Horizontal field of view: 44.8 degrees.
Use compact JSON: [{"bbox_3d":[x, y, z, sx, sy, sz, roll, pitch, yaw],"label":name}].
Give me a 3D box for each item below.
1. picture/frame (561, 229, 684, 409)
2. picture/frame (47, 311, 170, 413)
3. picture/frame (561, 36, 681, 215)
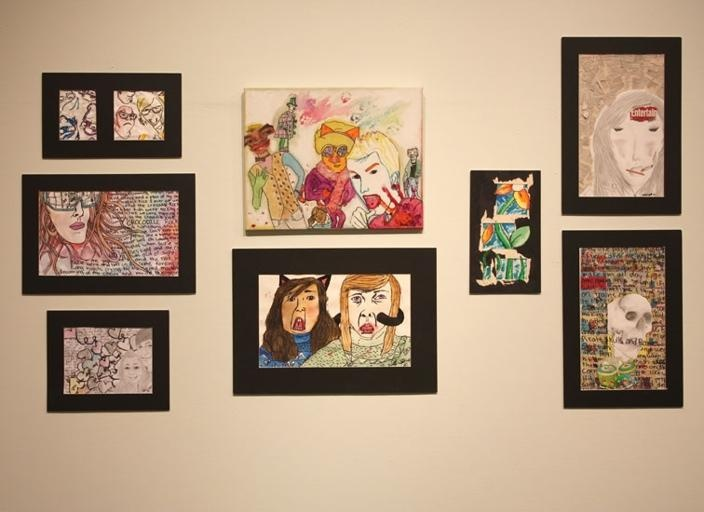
[{"bbox_3d":[1.032,0.235,3.333,0.626,0.978,0.034,0,-2,-3],"label":"picture/frame"},{"bbox_3d":[-0.968,0.419,3.312,0.352,0.327,0.017,-1,-4,-1],"label":"picture/frame"},{"bbox_3d":[1.025,-0.512,3.331,0.619,0.991,0.042,-1,1,0],"label":"picture/frame"}]
